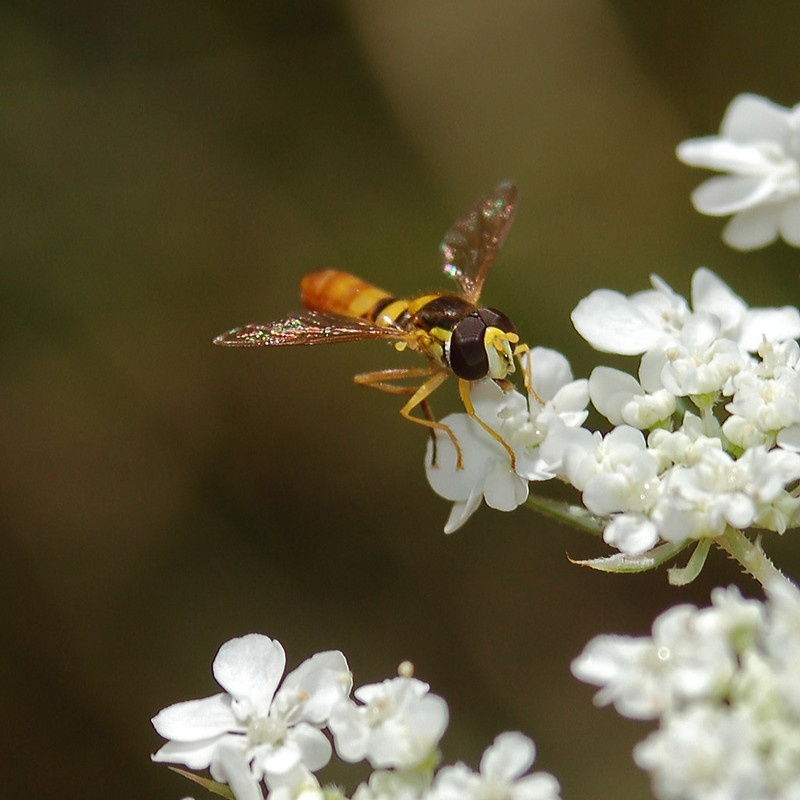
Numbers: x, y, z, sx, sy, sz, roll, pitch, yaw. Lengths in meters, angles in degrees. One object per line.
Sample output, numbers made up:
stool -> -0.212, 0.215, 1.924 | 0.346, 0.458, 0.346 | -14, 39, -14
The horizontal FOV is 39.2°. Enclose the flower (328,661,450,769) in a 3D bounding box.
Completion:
flower -> -0.035, 0.730, 2.497 | 0.257, 0.314, 0.096 | -14, -63, -10

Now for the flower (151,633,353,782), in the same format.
flower -> -0.329, 0.726, 2.610 | 0.354, 0.378, 0.115 | -33, -47, -2

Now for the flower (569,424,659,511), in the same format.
flower -> 0.506, 0.126, 2.706 | 0.233, 0.201, 0.116 | -29, -75, -44
